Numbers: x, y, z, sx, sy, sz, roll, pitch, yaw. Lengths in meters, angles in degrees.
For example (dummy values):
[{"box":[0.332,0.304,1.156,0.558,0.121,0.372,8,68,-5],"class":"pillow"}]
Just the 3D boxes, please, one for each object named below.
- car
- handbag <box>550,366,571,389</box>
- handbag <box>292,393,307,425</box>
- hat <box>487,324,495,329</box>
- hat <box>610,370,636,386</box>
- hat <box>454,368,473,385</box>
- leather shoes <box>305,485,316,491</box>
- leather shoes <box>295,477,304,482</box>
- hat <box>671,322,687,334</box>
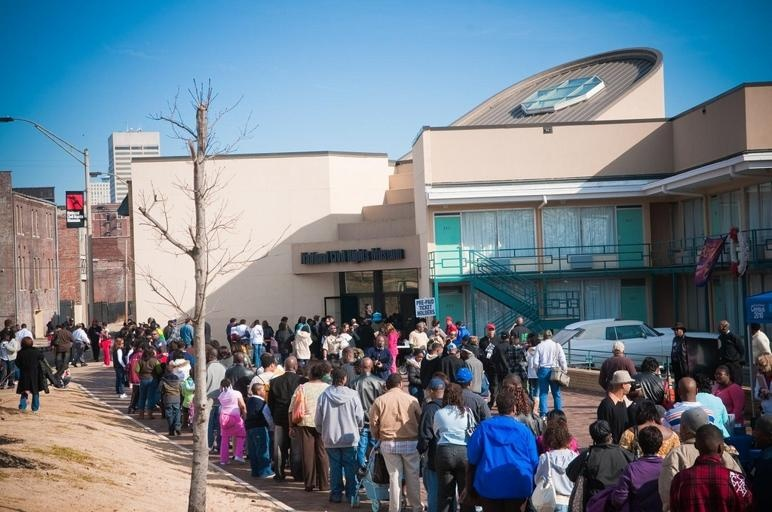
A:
[{"box":[9.159,3.886,46.685,5.436,1.775,2.502,-4,2,-6],"class":"car"},{"box":[6.048,4.219,41.209,0.501,0.690,0.948,-12,-17,28],"class":"handbag"},{"box":[-2.770,4.727,37.138,0.440,0.907,0.214,-1,-6,12],"class":"handbag"},{"box":[3.960,2.672,45.328,0.410,0.222,0.663,1,-4,-1],"class":"hat"},{"box":[7.161,3.675,36.235,0.584,0.446,0.655,-1,-7,13],"class":"hat"},{"box":[2.339,3.628,35.857,0.573,0.443,0.968,4,-13,8],"class":"hat"},{"box":[-2.429,7.256,37.367,0.285,0.185,0.111,1,-6,-4],"class":"leather shoes"},{"box":[-2.829,7.089,37.978,0.153,0.101,0.156,-5,-8,31],"class":"leather shoes"},{"box":[10.836,2.655,44.077,0.581,0.488,0.521,16,-16,-33],"class":"hat"}]
